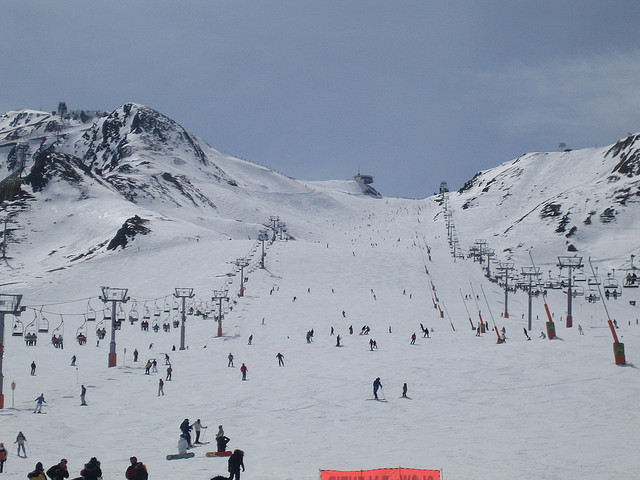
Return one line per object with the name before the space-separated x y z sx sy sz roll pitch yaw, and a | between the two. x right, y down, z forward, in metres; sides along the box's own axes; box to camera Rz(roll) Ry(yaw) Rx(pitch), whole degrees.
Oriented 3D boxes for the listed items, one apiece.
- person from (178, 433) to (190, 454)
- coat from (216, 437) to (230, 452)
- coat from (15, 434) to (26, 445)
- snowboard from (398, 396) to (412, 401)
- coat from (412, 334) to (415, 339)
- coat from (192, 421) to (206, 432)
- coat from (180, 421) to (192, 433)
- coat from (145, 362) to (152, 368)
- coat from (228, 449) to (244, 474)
person | -14.757 22.003 129.659 1.039 2.309 0.874 7 -24 -29
coat | -10.557 21.966 128.808 1.249 1.535 1.379 -3 -19 -5
coat | -32.081 21.504 129.164 0.841 1.088 1.149 0 -19 -13
snowboard | 9.477 18.232 138.435 1.437 0.277 0.129 10 -42 11
coat | 11.648 12.528 154.907 0.281 0.560 0.694 -7 -18 4
coat | -13.401 20.562 132.278 1.407 1.084 1.440 -2 -18 -6
coat | -14.824 20.381 130.543 1.482 0.987 1.176 4 3 6
coat | -21.370 15.587 149.562 0.863 0.353 1.049 17 -51 -1
coat | -8.962 23.032 124.532 1.231 2.541 1.737 14 -27 -41
